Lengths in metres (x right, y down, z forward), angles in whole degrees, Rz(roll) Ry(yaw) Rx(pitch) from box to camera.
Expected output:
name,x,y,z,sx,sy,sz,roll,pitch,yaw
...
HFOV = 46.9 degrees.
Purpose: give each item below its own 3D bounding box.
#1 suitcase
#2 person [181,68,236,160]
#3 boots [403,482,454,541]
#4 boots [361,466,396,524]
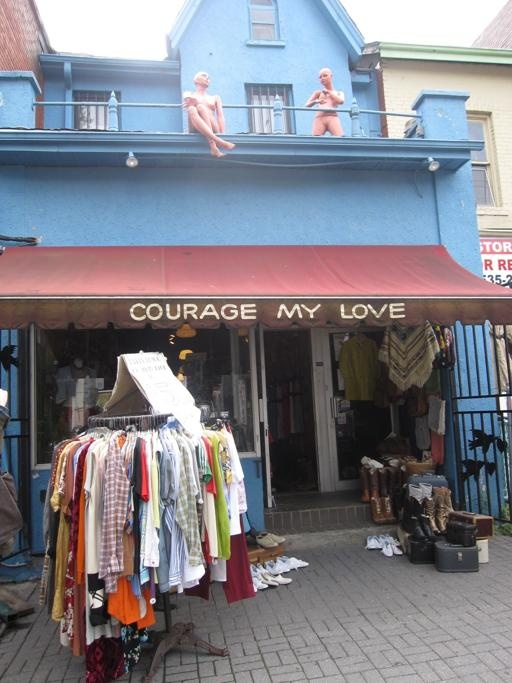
name,x,y,z,sx,sy,sz,roll,pitch,yaw
suitcase,2.131,2.038,6.113,0.588,0.486,0.570,-2,-4,-1
person,-0.576,-2.979,7.790,0.746,1.363,0.642,0,8,-30
boots,1.978,1.874,6.604,0.324,0.880,0.613,-2,-5,-5
boots,1.508,1.911,7.341,0.382,0.570,0.432,2,3,-1
